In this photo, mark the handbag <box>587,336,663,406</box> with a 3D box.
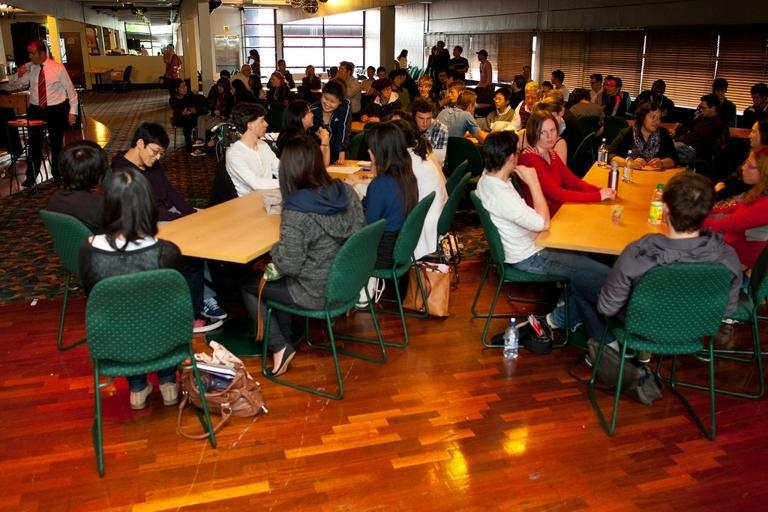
[{"bbox_3d":[1.722,0.806,3.650,0.481,0.218,0.600,-2,20,-33],"label":"handbag"}]

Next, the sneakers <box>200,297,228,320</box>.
[{"bbox_3d":[-1.437,0.433,4.265,0.281,0.103,0.102,10,19,34],"label":"sneakers"}]

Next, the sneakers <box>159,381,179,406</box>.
[{"bbox_3d":[-1.424,0.902,3.381,0.085,0.086,0.214,-2,11,-12],"label":"sneakers"}]

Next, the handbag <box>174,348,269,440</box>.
[{"bbox_3d":[-1.085,0.855,3.369,0.570,0.236,0.531,-16,36,-4],"label":"handbag"}]

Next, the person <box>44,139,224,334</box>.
[{"bbox_3d":[-1.901,-0.384,3.621,0.707,1.146,0.497,-24,54,-30],"label":"person"}]

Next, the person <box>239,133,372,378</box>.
[{"bbox_3d":[-0.535,0.050,3.466,0.862,1.680,0.473,-5,22,-15],"label":"person"}]

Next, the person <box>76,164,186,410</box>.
[{"bbox_3d":[-1.498,0.273,3.064,0.583,1.586,0.428,-6,22,-19],"label":"person"}]

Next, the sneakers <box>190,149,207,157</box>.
[{"bbox_3d":[-3.728,-2.077,10.204,0.181,0.098,0.296,0,7,-4],"label":"sneakers"}]

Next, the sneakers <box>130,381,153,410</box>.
[{"bbox_3d":[-1.638,0.922,3.405,0.085,0.090,0.225,0,12,-3],"label":"sneakers"}]

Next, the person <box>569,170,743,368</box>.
[{"bbox_3d":[1.828,0.163,3.559,0.925,1.390,1.161,-4,17,1],"label":"person"}]

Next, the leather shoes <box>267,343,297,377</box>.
[{"bbox_3d":[-0.743,0.745,3.713,0.119,0.291,0.106,31,14,-44],"label":"leather shoes"}]
